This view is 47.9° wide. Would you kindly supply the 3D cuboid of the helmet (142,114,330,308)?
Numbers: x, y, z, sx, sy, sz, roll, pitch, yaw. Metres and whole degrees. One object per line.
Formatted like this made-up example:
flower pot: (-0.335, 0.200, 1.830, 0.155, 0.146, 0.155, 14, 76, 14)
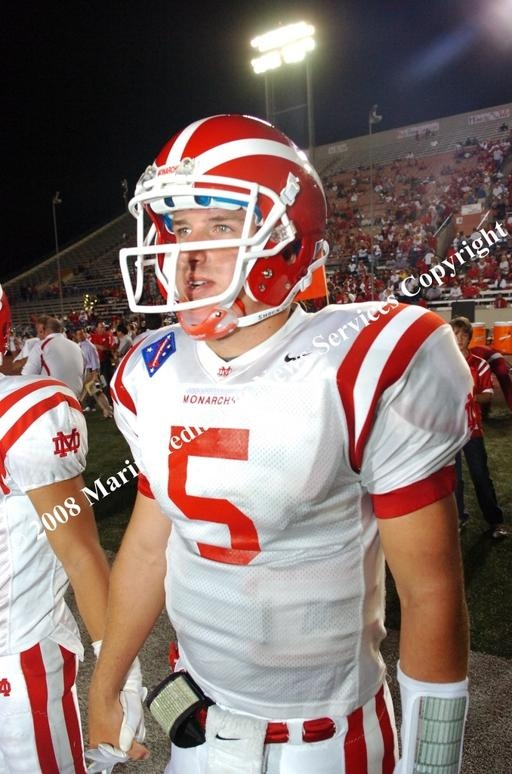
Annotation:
helmet: (-0.008, -0.373, 1.222, 0.336, 0.319, 0.406, 12, 24, 34)
